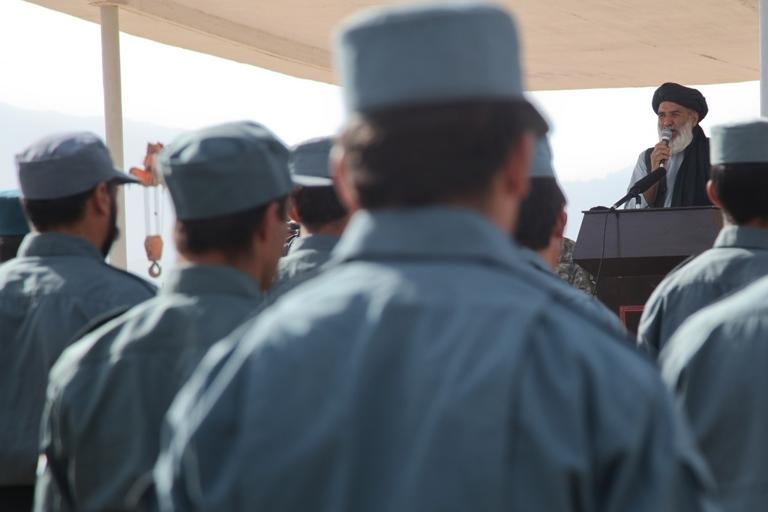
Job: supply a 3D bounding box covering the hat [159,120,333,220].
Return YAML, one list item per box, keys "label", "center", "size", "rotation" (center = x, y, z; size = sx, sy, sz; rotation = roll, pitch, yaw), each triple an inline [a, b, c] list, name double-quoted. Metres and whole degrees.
- label: "hat"
  center: [-0.718, -0.426, 6.923]
  size: [0.803, 0.324, 0.579]
  rotation: [-17, 16, -34]

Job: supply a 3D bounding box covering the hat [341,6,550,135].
- label: "hat"
  center: [0.245, -0.774, 6.027]
  size: [0.727, 0.309, 0.520]
  rotation: [0, -6, -37]
